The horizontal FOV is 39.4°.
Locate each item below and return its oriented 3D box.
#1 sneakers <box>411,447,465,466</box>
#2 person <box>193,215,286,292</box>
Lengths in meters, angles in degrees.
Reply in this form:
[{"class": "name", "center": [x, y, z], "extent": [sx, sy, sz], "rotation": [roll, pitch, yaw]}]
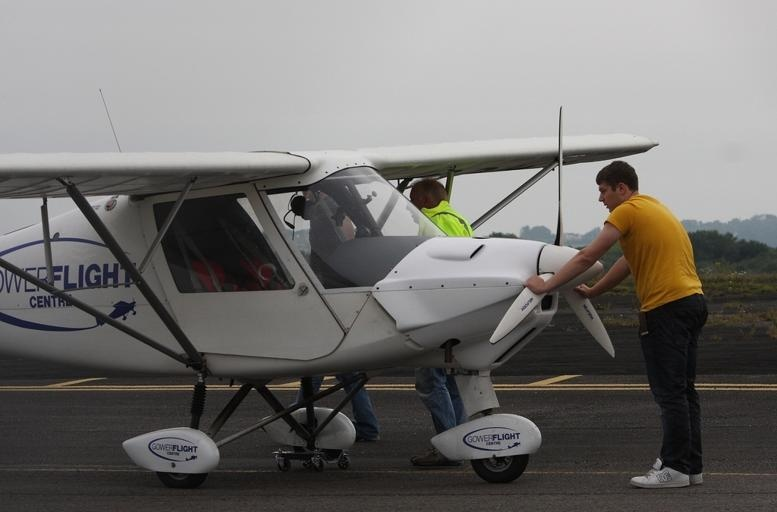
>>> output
[{"class": "sneakers", "center": [0.465, 2.026, 10.887], "extent": [0.578, 0.157, 0.166], "rotation": [3, -4, 3]}, {"class": "person", "center": [-1.401, -0.039, 10.366], "extent": [0.960, 0.673, 0.211], "rotation": [-20, 4, 22]}]
